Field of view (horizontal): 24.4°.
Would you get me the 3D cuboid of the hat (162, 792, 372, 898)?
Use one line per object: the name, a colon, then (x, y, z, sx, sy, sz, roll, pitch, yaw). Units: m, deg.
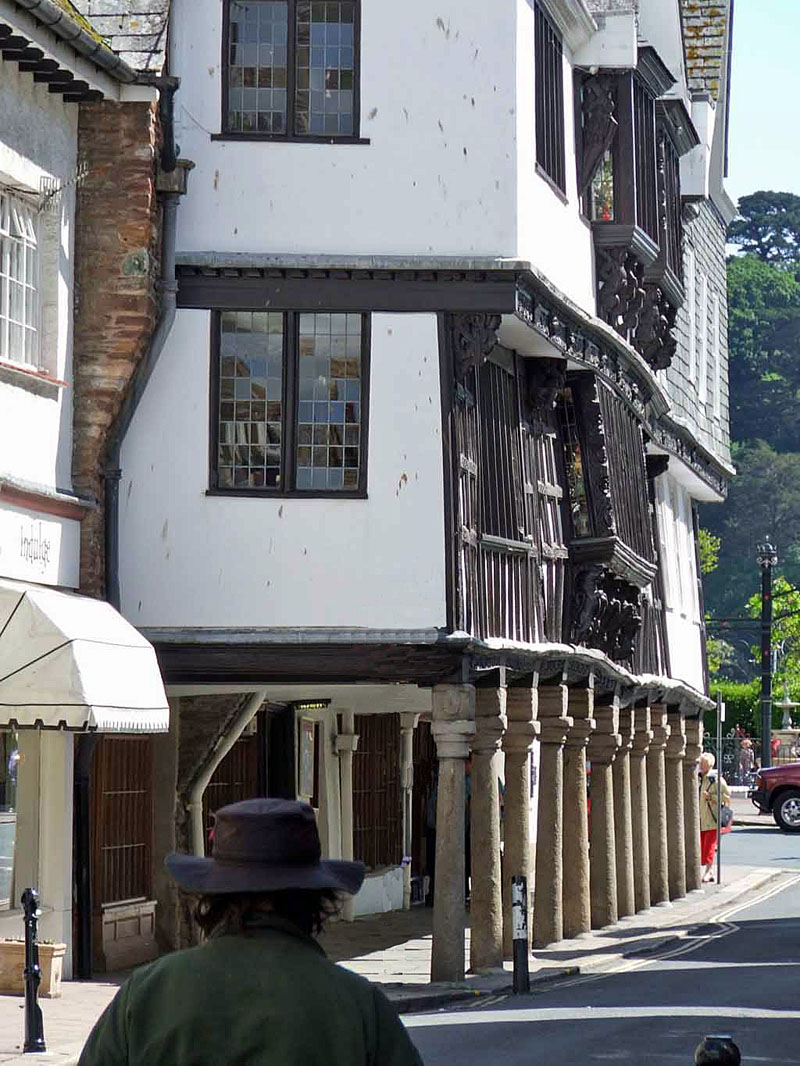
hat: (-0.245, 0.595, 3.416, 0.379, 0.227, 0.373, 11, -17, -39)

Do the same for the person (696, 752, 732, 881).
person: (4.708, 4.264, 27.838, 0.510, 1.693, 0.414, -1, -4, 27)

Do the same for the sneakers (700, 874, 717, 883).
sneakers: (4.615, 5.109, 27.420, 0.141, 0.152, 0.257, 0, -2, 7)
